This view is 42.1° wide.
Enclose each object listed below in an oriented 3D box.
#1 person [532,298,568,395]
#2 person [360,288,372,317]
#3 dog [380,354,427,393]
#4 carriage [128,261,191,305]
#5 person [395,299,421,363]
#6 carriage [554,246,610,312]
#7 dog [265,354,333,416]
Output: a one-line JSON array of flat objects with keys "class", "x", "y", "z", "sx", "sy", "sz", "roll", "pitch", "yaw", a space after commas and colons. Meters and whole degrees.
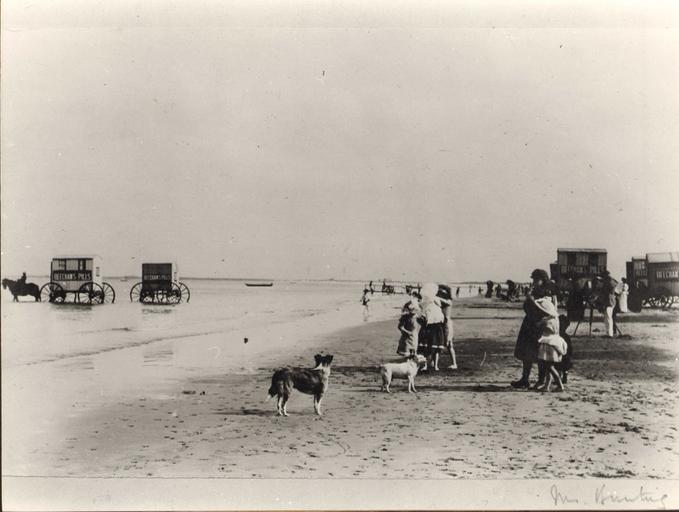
[{"class": "person", "x": 3.723, "y": 1.587, "z": 15.625, "sx": 0.612, "sy": 1.698, "sz": 0.599, "roll": 3, "pitch": 5, "yaw": 15}, {"class": "person", "x": 1.062, "y": 1.868, "z": 35.246, "sx": 0.567, "sy": 1.193, "sz": 0.415, "roll": 6, "pitch": 15, "yaw": 22}, {"class": "dog", "x": 1.153, "y": 2.088, "z": 15.908, "sx": 0.758, "sy": 0.705, "sz": 0.690, "roll": 2, "pitch": 5, "yaw": 4}, {"class": "carriage", "x": -5.164, "y": 0.817, "z": 25.076, "sx": 1.589, "sy": 1.158, "sz": 1.146, "roll": 1, "pitch": 2, "yaw": -21}, {"class": "person", "x": 1.253, "y": 1.336, "z": 16.038, "sx": 0.352, "sy": 1.094, "sz": 0.382, "roll": 1, "pitch": 5, "yaw": 0}, {"class": "carriage", "x": 4.805, "y": 0.285, "z": 17.627, "sx": 1.015, "sy": 1.054, "sz": 0.607, "roll": -2, "pitch": -6, "yaw": 30}, {"class": "dog", "x": -0.612, "y": 2.161, "z": 14.809, "sx": 1.272, "sy": 0.984, "sz": 0.578, "roll": 1, "pitch": 0, "yaw": -28}]
